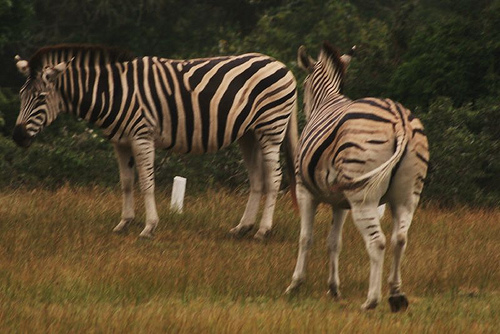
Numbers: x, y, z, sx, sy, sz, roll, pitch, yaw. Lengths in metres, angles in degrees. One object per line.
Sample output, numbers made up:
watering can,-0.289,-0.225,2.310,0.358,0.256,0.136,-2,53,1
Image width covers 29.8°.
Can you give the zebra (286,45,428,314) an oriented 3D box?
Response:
zebra,1.608,0.419,15.233,2.397,3.768,1.103,18,16,38
